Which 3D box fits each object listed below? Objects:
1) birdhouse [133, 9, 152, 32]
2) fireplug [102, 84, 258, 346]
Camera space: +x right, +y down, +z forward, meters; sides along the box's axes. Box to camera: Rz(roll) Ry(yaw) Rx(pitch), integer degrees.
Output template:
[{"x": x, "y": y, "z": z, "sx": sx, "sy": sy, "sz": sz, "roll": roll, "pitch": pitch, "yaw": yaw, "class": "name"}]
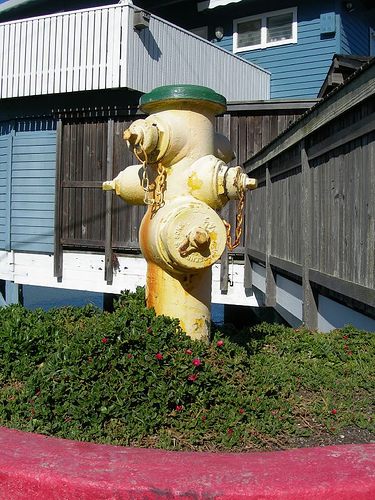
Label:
[{"x": -0.833, "y": -4.202, "z": 9.879, "sx": 0.289, "sy": 0.405, "sz": 0.417, "roll": 1, "pitch": 3, "yaw": 18, "class": "birdhouse"}, {"x": -0.027, "y": -0.248, "z": 3.970, "sx": 0.819, "sy": 1.918, "sz": 0.739, "roll": 4, "pitch": 7, "yaw": 7, "class": "fireplug"}]
